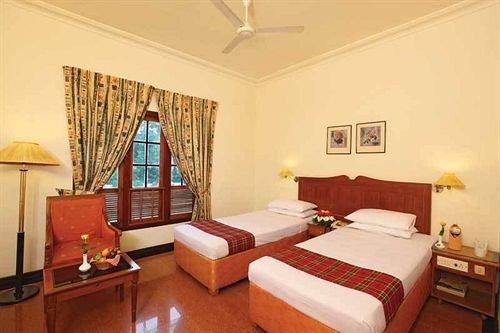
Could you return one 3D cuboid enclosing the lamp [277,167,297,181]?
[{"bbox_3d":[0.865,0.175,7.387,0.384,0.235,0.275,2,-7,-44],"label":"lamp"}]

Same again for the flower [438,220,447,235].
[{"bbox_3d":[3.236,1.048,5.421,0.096,0.251,0.413,1,0,32],"label":"flower"}]

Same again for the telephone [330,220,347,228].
[{"bbox_3d":[1.711,1.114,6.221,0.161,0.041,0.169,-10,9,-24],"label":"telephone"}]

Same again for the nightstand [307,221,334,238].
[{"bbox_3d":[1.420,1.206,6.402,0.290,0.369,0.390,0,-1,37],"label":"nightstand"}]

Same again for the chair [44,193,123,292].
[{"bbox_3d":[-2.846,1.231,5.427,1.034,1.395,0.779,-4,12,-35],"label":"chair"}]

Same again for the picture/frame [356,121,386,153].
[{"bbox_3d":[2.365,-0.577,6.247,0.595,0.680,0.038,4,5,38],"label":"picture/frame"}]

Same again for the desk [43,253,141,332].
[{"bbox_3d":[-2.298,2.022,4.650,1.290,0.938,0.974,2,-5,-40],"label":"desk"}]

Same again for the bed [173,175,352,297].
[{"bbox_3d":[0.359,0.862,6.209,3.080,1.562,1.383,2,0,-32],"label":"bed"}]

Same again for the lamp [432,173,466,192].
[{"bbox_3d":[3.404,0.249,5.486,0.351,0.213,0.381,-2,4,-19],"label":"lamp"}]

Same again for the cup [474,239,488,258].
[{"bbox_3d":[3.611,1.272,5.026,0.198,0.240,0.192,0,0,0],"label":"cup"}]

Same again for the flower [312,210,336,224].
[{"bbox_3d":[1.435,0.988,6.338,0.296,0.143,0.294,2,-5,-33],"label":"flower"}]

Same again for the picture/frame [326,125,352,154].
[{"bbox_3d":[1.850,-0.566,6.636,0.567,0.641,0.035,6,8,40],"label":"picture/frame"}]

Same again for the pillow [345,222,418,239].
[{"bbox_3d":[2.283,1.086,5.556,0.606,0.100,0.398,2,1,32],"label":"pillow"}]
